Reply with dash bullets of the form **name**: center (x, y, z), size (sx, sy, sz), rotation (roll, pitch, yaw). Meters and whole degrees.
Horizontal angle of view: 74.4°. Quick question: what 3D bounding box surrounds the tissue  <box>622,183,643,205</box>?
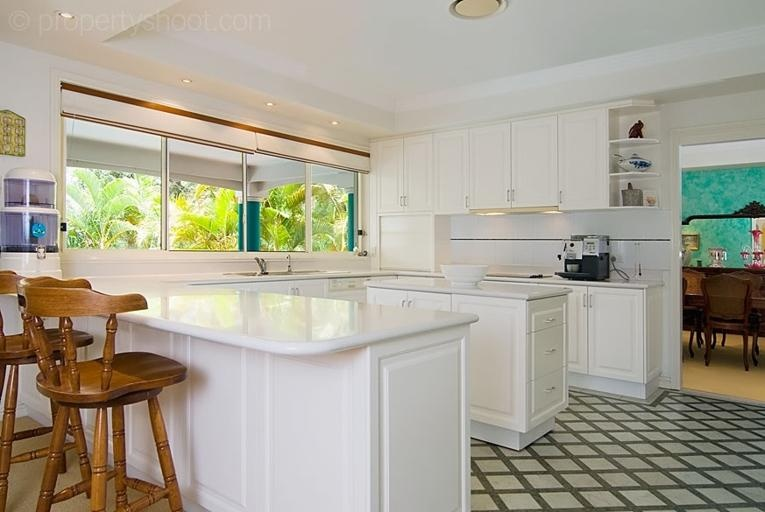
- **tissue **: center (2.571, -0.624, 5.204), size (0.204, 0.285, 0.203), rotation (-2, -5, 35)

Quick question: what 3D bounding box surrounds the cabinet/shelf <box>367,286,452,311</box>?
- **cabinet/shelf**: center (0.212, 0.356, 4.142), size (0.398, 0.225, 0.226), rotation (1, 2, 33)

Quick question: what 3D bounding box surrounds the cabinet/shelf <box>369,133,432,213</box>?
- **cabinet/shelf**: center (0.255, -1.073, 6.503), size (1.113, 1.000, 0.397), rotation (0, 1, 41)

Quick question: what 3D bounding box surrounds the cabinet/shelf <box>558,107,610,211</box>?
- **cabinet/shelf**: center (2.095, -1.017, 5.297), size (0.572, 1.033, 0.243), rotation (6, 13, 21)

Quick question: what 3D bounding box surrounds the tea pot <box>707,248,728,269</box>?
- **tea pot**: center (5.259, 0.040, 7.937), size (0.349, 0.307, 0.335), rotation (0, 3, 0)

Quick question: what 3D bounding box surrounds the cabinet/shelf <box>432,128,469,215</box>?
- **cabinet/shelf**: center (0.821, -1.026, 6.125), size (0.534, 0.966, 0.159), rotation (12, 16, 43)

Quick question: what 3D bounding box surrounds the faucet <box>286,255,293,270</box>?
- **faucet**: center (-1.112, 0.082, 5.914), size (0.062, 0.191, 0.175), rotation (-1, 11, -11)

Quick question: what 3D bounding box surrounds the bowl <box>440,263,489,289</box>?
- **bowl**: center (0.657, 0.158, 4.146), size (0.345, 0.192, 0.394), rotation (3, 11, 9)

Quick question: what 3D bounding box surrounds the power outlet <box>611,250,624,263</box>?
- **power outlet**: center (2.546, 0.004, 5.495), size (0.146, 0.168, 0.042), rotation (6, 13, 23)

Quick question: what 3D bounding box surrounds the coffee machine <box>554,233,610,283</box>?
- **coffee machine**: center (2.118, 0.071, 5.504), size (0.490, 0.552, 0.580), rotation (4, -6, -38)

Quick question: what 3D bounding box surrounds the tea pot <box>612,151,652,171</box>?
- **tea pot**: center (2.608, -0.958, 5.255), size (0.295, 0.156, 0.242), rotation (-1, 0, 36)
